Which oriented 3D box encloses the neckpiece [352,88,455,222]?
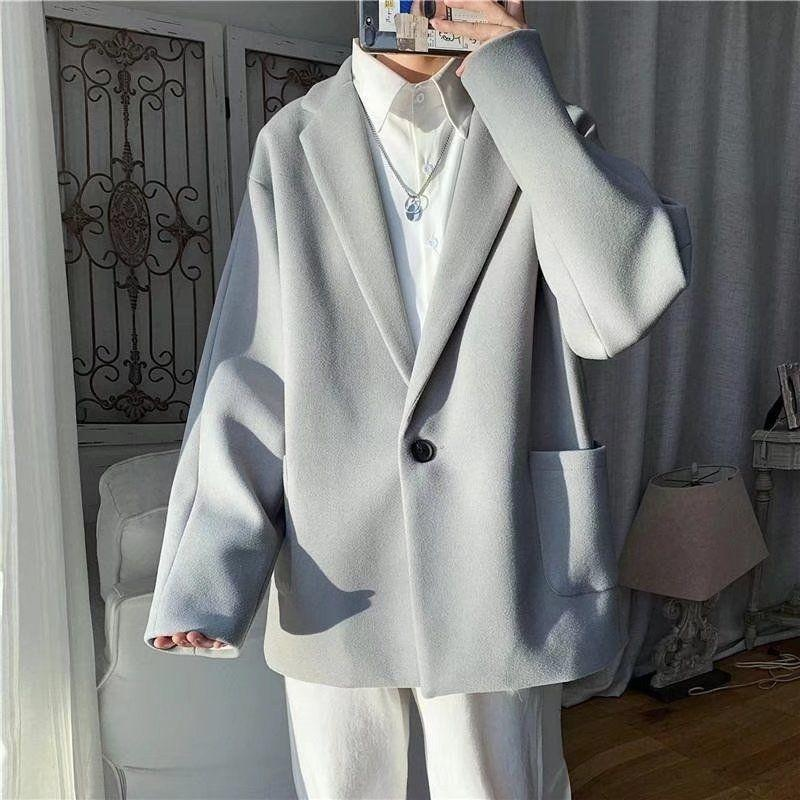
[{"bbox_3d":[0.014,-0.350,1.487,0.115,0.205,0.059,1,7,-1],"label":"neckpiece"}]

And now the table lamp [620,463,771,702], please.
[{"bbox_3d":[0.687,0.429,2.529,0.280,0.648,0.425,7,15,37],"label":"table lamp"}]

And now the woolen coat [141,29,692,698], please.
[{"bbox_3d":[0.010,-0.058,1.477,0.705,0.863,0.313,-2,11,-4],"label":"woolen coat"}]
